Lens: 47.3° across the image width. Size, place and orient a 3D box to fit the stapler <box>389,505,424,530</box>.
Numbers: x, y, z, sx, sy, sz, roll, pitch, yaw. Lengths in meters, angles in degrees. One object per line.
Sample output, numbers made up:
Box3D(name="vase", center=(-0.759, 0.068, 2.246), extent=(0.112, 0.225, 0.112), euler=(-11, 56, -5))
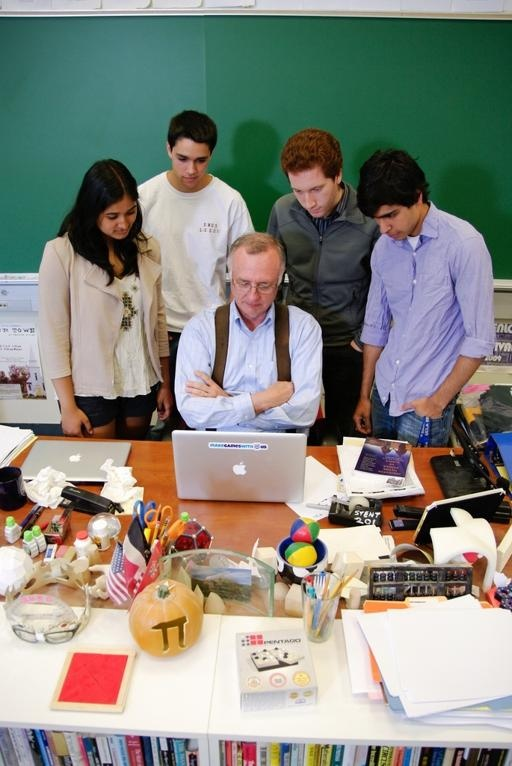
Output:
Box3D(name="stapler", center=(0.416, 0.371, 1.608), extent=(0.093, 0.040, 0.097), euler=(1, 19, 10))

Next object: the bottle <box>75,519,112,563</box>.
Box3D(name="bottle", center=(-0.424, 0.387, 1.475), extent=(0.056, 0.103, 0.105), euler=(10, 21, 24))

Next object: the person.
Box3D(name="person", center=(0.071, -0.412, 2.303), extent=(1.276, 1.548, 0.502), euler=(13, 47, 18))

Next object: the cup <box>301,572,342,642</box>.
Box3D(name="cup", center=(0.126, 0.447, 1.170), extent=(0.084, 0.133, 0.088), euler=(3, -7, 0))

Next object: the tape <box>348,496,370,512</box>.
Box3D(name="tape", center=(0.289, 0.336, 1.635), extent=(0.031, 0.042, 0.043), euler=(-15, 62, -8))

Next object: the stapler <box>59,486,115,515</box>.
Box3D(name="stapler", center=(-0.475, 0.335, 1.646), extent=(0.128, 0.048, 0.073), euler=(16, 13, -2))

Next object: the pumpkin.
Box3D(name="pumpkin", center=(-0.182, 0.467, 1.157), extent=(0.149, 0.139, 0.155), euler=(0, 14, -10))

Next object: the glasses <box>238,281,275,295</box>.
Box3D(name="glasses", center=(-0.003, -0.306, 1.888), extent=(0.111, 0.047, 0.041), euler=(-5, 19, -6))

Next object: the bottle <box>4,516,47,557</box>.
Box3D(name="bottle", center=(-0.582, 0.393, 1.475), extent=(0.073, 0.049, 0.033), euler=(17, 40, 26))
